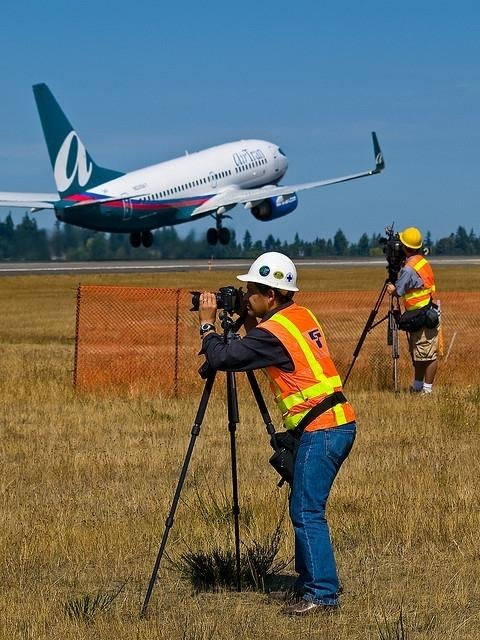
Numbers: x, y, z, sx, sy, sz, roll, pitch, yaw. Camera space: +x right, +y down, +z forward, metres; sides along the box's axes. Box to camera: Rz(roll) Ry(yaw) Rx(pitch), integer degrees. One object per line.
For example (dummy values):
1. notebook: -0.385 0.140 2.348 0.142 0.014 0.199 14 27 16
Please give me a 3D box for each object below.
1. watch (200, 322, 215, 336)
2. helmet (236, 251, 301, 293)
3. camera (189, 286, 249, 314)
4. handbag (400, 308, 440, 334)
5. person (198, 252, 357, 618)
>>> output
1. watch: -0.192 0.068 7.017 0.090 0.059 0.087 -22 -20 3
2. helmet: 0.201 -0.275 7.045 0.291 0.192 0.234 8 1 -2
3. camera: -0.117 -0.141 7.233 0.333 0.228 0.207 -7 13 -34
4. handbag: 2.175 0.000 14.239 0.347 0.212 0.302 -8 -7 -33
5. person: 0.287 0.648 7.069 0.922 2.059 0.830 0 0 23
